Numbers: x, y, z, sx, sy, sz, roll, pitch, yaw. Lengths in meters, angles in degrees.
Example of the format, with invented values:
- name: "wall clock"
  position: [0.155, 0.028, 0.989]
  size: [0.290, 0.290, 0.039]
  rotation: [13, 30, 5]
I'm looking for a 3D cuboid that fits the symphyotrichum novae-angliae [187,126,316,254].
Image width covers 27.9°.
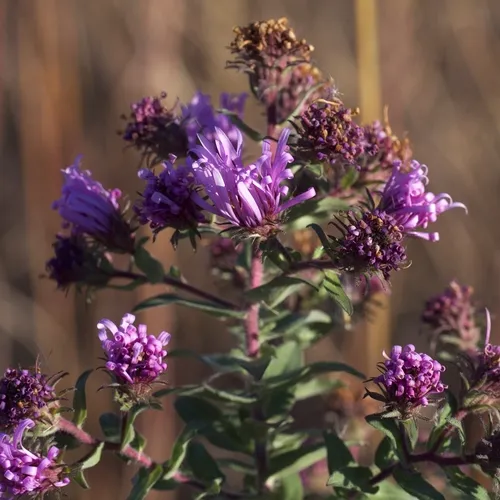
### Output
- name: "symphyotrichum novae-angliae"
  position: [0.000, -0.145, 2.445]
  size: [0.288, 0.210, 0.336]
  rotation: [6, 4, 36]

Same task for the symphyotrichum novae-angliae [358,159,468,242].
- name: "symphyotrichum novae-angliae"
  position: [0.385, -0.123, 2.458]
  size: [0.110, 0.204, 0.201]
  rotation: [-45, 21, 0]

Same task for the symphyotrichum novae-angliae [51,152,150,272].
- name: "symphyotrichum novae-angliae"
  position: [-0.397, -0.106, 2.537]
  size: [0.218, 0.188, 0.085]
  rotation: [-5, -2, -22]

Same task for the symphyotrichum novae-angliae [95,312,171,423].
- name: "symphyotrichum novae-angliae"
  position: [-0.279, 0.299, 2.408]
  size: [0.145, 0.196, 0.157]
  rotation: [7, 4, 32]

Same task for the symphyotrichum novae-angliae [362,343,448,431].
- name: "symphyotrichum novae-angliae"
  position: [0.376, 0.324, 2.423]
  size: [0.177, 0.169, 0.185]
  rotation: [-5, 0, 21]
